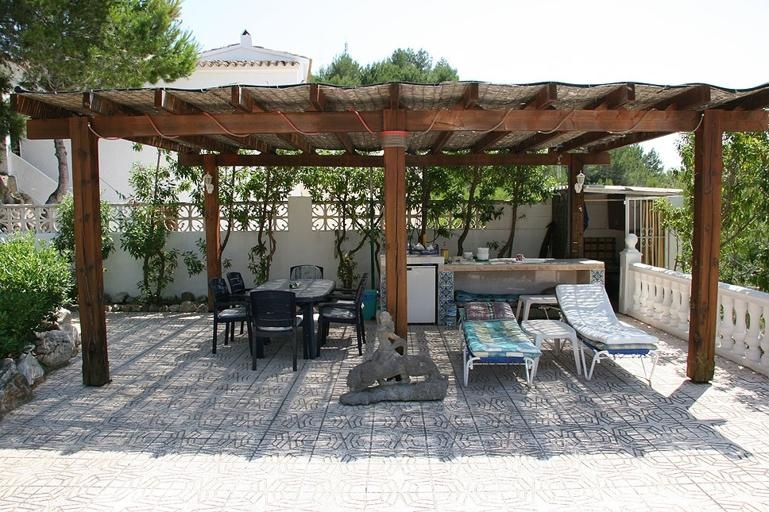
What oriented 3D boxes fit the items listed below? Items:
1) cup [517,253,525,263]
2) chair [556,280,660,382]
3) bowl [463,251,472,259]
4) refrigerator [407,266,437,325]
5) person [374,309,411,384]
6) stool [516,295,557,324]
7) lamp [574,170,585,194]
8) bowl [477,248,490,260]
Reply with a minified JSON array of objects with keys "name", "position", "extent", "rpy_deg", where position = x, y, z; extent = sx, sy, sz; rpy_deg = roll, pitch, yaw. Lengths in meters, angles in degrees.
[{"name":"cup","position":[2.560,0.034,10.596],"extent":[0.172,0.164,0.168],"rpy_deg":[-12,9,2]},{"name":"chair","position":[3.123,1.057,8.045],"extent":[0.873,1.029,1.772],"rpy_deg":[0,5,-5]},{"name":"bowl","position":[1.610,-0.005,10.698],"extent":[0.136,0.077,0.118],"rpy_deg":[3,0,-11]},{"name":"refrigerator","position":[0.681,0.728,10.325],"extent":[0.673,1.061,0.674],"rpy_deg":[-3,-1,10]},{"name":"person","position":[0.094,1.181,7.304],"extent":[0.418,0.935,0.707],"rpy_deg":[-1,15,0]},{"name":"stool","position":[2.620,0.886,9.762],"extent":[0.613,0.458,0.602],"rpy_deg":[0,-5,0]},{"name":"lamp","position":[3.835,-1.439,10.919],"extent":[0.173,0.437,0.335],"rpy_deg":[3,15,13]},{"name":"bowl","position":[1.859,-0.036,10.689],"extent":[0.263,0.215,0.245],"rpy_deg":[2,1,0]}]
